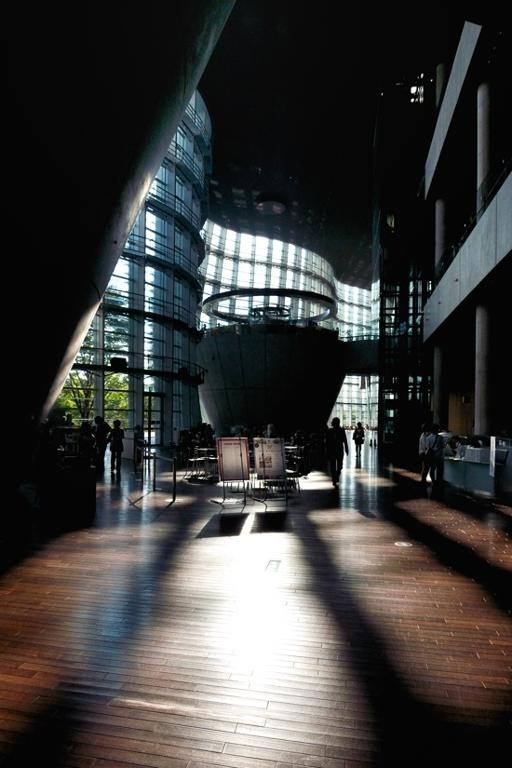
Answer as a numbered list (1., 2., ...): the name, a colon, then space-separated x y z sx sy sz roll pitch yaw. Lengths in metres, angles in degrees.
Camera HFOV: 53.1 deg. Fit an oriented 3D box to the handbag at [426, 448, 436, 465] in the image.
1. handbag: 4.578 1.865 13.423 0.246 0.349 0.295 5 -9 -30
